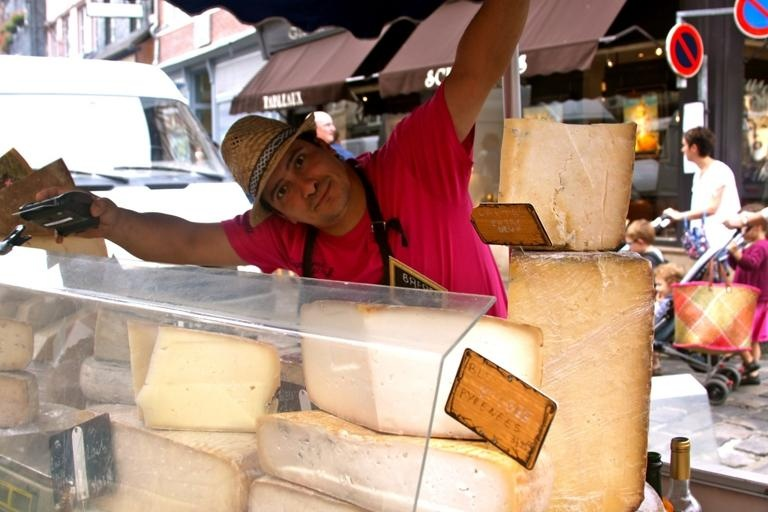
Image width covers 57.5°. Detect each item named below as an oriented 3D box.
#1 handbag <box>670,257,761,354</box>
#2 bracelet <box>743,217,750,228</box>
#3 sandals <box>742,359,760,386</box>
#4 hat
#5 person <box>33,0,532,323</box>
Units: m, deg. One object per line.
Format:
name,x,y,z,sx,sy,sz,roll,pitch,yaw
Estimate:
handbag,2.088,0.319,4.607,0.698,0.685,0.428,0,-2,5
bracelet,2.557,-0.231,4.947,0.040,0.053,0.016,-7,3,-33
sandals,2.564,0.817,4.912,0.155,0.160,0.065,-3,10,-12
hat,-0.435,-0.324,2.669,0.364,0.428,0.234,4,11,29
person,-0.218,-0.340,2.726,1.511,1.117,0.459,1,10,11
